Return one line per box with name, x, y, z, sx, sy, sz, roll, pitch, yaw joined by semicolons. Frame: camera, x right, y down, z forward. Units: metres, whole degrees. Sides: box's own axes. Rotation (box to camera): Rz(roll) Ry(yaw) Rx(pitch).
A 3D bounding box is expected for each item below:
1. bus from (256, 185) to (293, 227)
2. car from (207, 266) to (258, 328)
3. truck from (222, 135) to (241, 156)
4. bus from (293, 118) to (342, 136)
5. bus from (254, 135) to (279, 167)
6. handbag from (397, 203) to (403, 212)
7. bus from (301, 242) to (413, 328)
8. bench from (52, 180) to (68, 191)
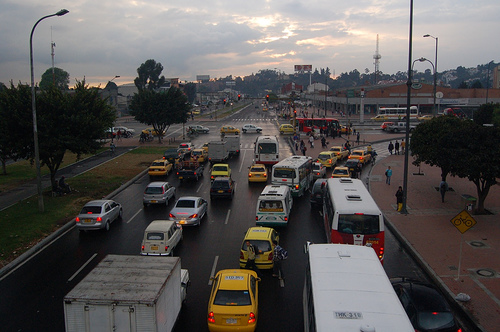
bus;1.943;3.076;33.210;2.473;2.589;5.010;0;10;8
car;-0.833;6.761;21.688;2.652;2.642;3.321;1;0;-2
truck;-2.373;-2.973;58.721;1.553;1.707;2.866;0;13;4
bus;15.168;-7.483;85.512;11.026;4.293;3.891;-1;14;5
bus;2.162;-2.116;53.351;2.966;3.780;6.773;2;12;0
handbag;12.611;3.429;34.965;0.390;0.708;0.683;1;13;17
bus;4.447;6.118;18.833;3.877;3.980;6.824;1;0;0
bench;-18.288;1.944;40.373;0.638;1.143;0.438;25;-2;-11
